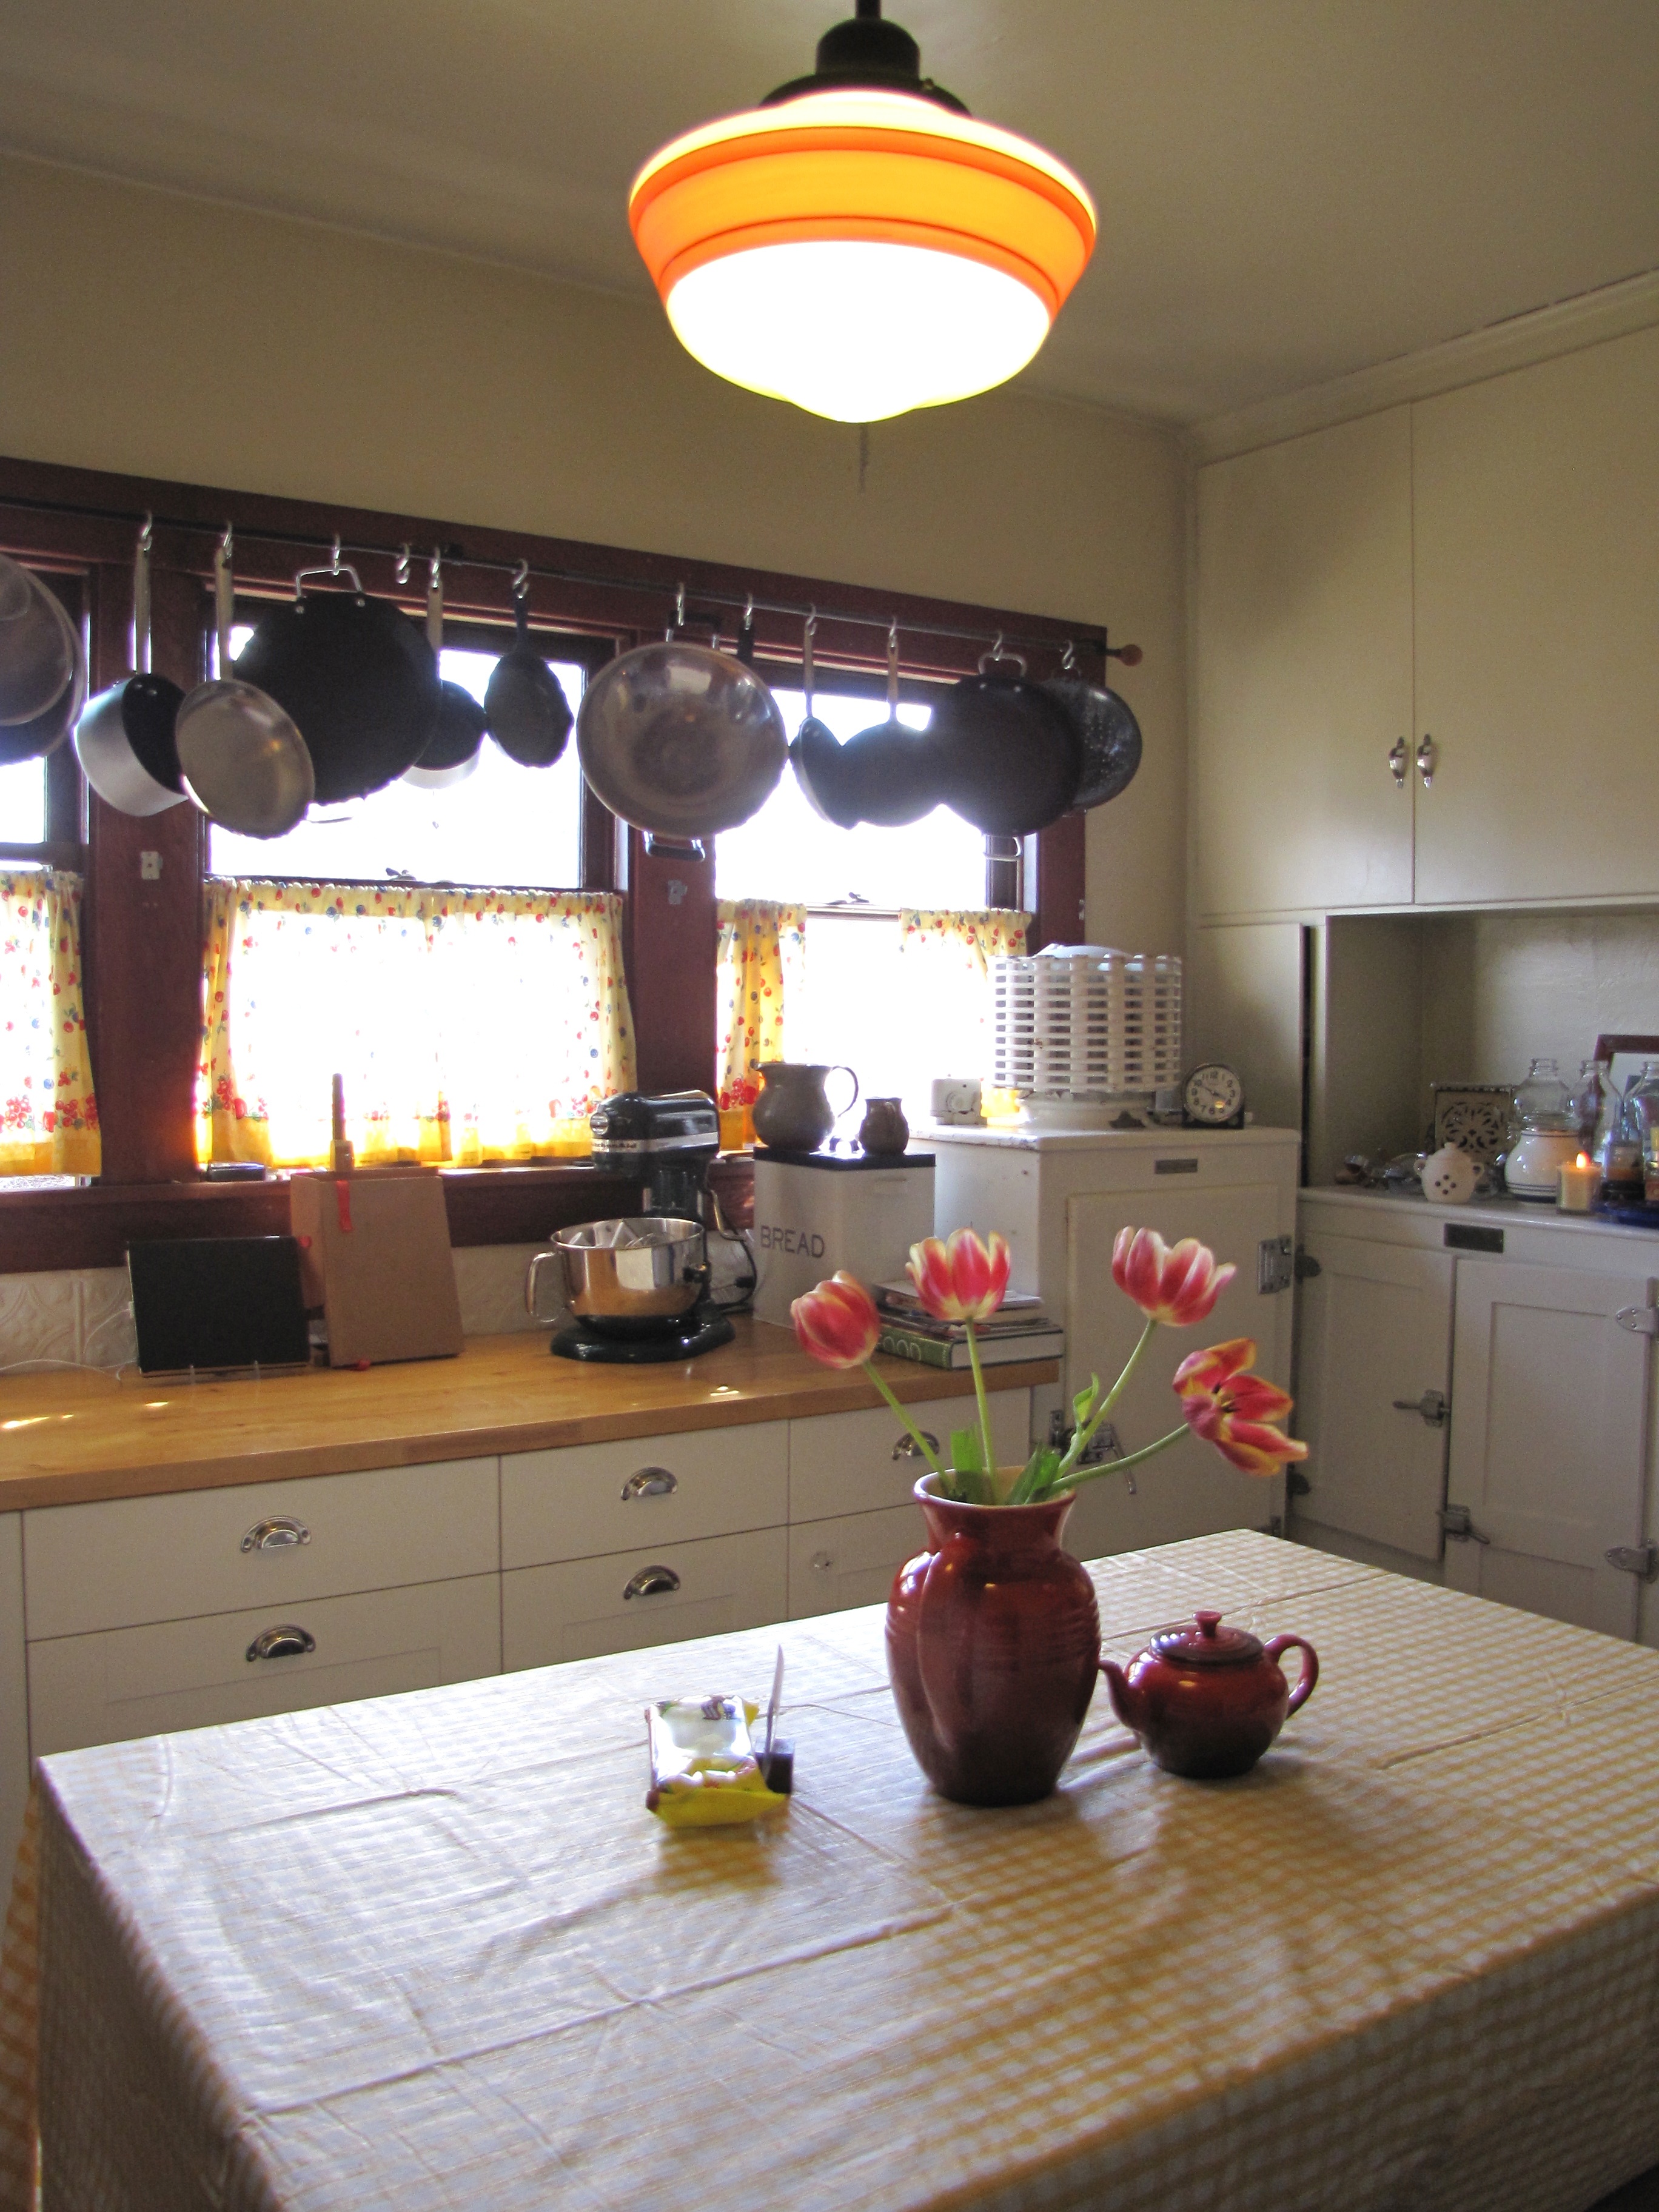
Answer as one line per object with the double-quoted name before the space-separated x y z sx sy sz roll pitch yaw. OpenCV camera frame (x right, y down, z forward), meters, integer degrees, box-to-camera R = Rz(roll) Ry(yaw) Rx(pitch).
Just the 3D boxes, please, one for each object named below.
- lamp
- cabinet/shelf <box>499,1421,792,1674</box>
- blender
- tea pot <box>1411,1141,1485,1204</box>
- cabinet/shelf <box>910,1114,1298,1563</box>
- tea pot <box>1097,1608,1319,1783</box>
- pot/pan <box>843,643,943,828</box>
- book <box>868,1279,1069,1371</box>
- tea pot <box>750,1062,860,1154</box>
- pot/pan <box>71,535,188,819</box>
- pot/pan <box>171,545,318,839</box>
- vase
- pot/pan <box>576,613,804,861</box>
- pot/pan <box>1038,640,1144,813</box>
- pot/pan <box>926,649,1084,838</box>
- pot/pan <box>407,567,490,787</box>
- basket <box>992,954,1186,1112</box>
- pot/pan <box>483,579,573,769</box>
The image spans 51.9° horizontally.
"lamp" 0.007 -0.662 1.219 0.261 0.397 0.271 1 3 -10
"cabinet/shelf" -0.266 0.552 2.335 0.386 0.389 0.255 3 -5 -33
"blender" -0.279 0.181 2.743 0.251 0.397 0.410 2 4 13
"tea pot" 1.157 0.116 3.142 0.112 0.110 0.090 2 10 19
"cabinet/shelf" 0.559 0.342 3.343 0.727 1.087 0.713 -1 0 -32
"tea pot" 0.281 0.417 1.271 0.149 0.103 0.103 -2 3 -21
"pot/pan" 0.098 -0.552 2.457 0.139 0.293 0.135 1 4 3
"book" 0.229 0.354 2.678 0.193 0.048 0.193 -1 2 -40
"tea pot" -0.038 -0.001 3.011 0.150 0.155 0.282 2 4 16
"pot/pan" -0.847 -0.541 2.066 0.116 0.358 0.281 -1 4 -26
"pot/pan" -0.673 -0.468 1.970 0.032 0.289 0.142 -5 -2 24
"vase" 0.118 0.370 1.294 0.182 0.258 0.189 2 -2 28
"pot/pan" -0.185 -0.466 2.163 0.262 0.241 0.088 0 4 -14
"pot/pan" 0.442 -0.598 2.714 0.104 0.279 0.178 -10 7 -39
"pot/pan" 0.257 -0.511 2.453 0.213 0.218 0.089 1 4 3
"pot/pan" -0.515 -0.597 2.391 0.041 0.292 0.155 3 9 29
"basket" 0.486 -0.132 3.217 0.281 0.229 0.289 1 1 30
"pot/pan" -0.408 -0.576 2.323 0.139 0.253 0.035 -4 5 21
